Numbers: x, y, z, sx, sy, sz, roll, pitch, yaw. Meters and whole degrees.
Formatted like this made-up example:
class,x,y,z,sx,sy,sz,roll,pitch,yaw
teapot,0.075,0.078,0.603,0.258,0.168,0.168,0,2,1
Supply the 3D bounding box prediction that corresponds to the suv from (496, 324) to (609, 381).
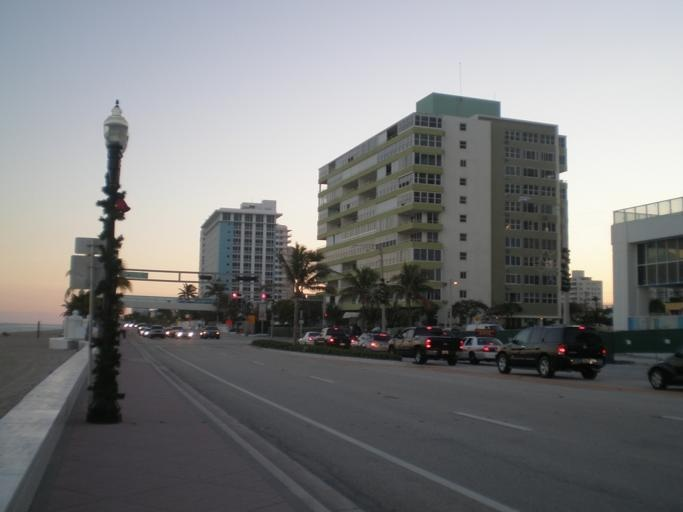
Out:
class,x,y,z,sx,sy,sz,roll,pitch,yaw
suv,7.899,3.648,25.241,1.940,1.442,3.753,4,-5,-24
